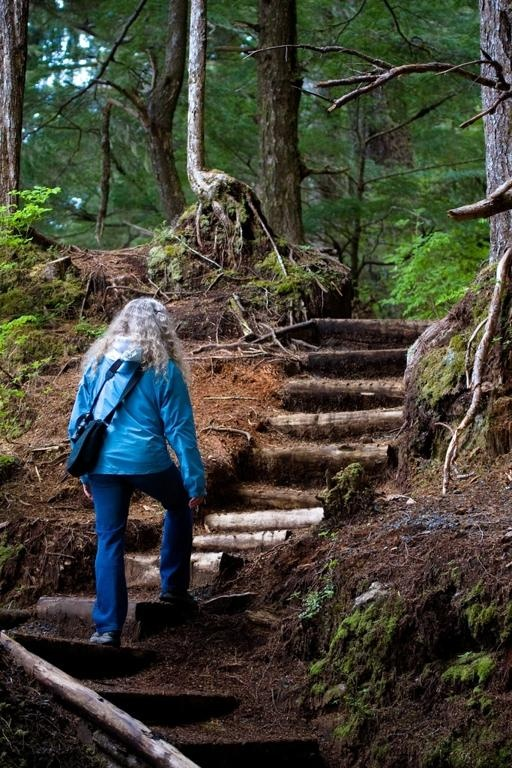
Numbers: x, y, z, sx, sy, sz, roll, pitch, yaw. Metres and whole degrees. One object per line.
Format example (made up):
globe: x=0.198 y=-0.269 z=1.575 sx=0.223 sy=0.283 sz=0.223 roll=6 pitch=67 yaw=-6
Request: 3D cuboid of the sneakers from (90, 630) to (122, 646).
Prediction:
sneakers: x=-0.889 y=1.515 z=4.894 sx=0.183 sy=0.083 sz=0.073 roll=5 pitch=1 yaw=32

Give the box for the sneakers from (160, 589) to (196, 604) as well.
sneakers: x=-0.531 y=1.443 z=5.615 sx=0.255 sy=0.116 sz=0.093 roll=4 pitch=-4 yaw=-25

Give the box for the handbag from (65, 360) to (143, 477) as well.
handbag: x=-1.007 y=0.208 z=5.310 sx=0.502 sy=0.717 sz=0.350 roll=-4 pitch=7 yaw=-31
